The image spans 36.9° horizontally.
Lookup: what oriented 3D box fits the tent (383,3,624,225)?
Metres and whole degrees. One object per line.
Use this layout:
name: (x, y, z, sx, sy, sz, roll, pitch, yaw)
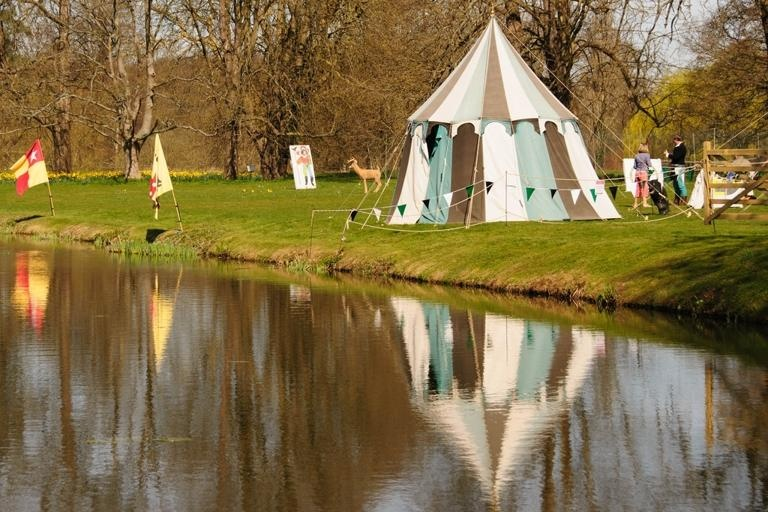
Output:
tent: (3.294, -4.660, 36.903, 6.944, 6.920, 6.575, 2, 6, -25)
